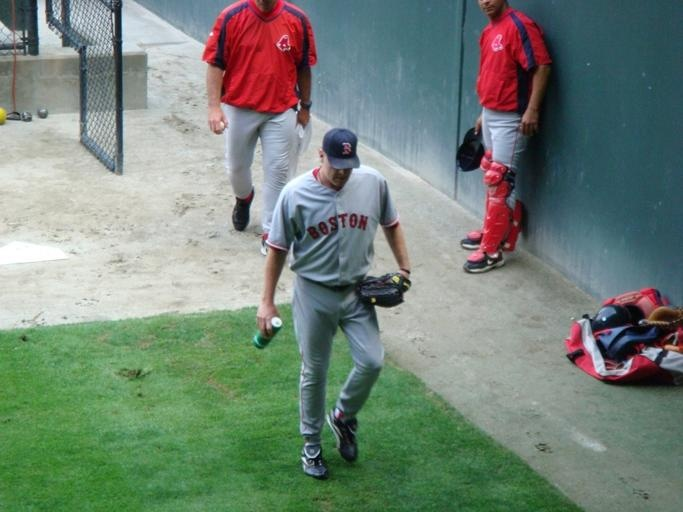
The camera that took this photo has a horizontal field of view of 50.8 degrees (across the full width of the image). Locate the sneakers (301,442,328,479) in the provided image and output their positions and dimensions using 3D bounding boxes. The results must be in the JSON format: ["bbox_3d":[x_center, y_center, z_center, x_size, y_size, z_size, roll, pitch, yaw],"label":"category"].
[{"bbox_3d":[-0.164,1.172,4.239,0.093,0.108,0.248,-6,28,-21],"label":"sneakers"}]

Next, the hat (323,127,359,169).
[{"bbox_3d":[-0.008,-0.591,4.051,0.152,0.138,0.254,-5,45,-19],"label":"hat"}]

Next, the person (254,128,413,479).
[{"bbox_3d":[-0.045,0.265,4.179,0.874,1.909,0.652,1,19,-8],"label":"person"}]

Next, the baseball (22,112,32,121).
[{"bbox_3d":[-4.414,-1.956,10.151,0.104,0.114,0.148,-1,12,-35],"label":"baseball"}]

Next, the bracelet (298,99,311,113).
[{"bbox_3d":[-0.353,-1.446,6.970,0.082,0.060,0.101,2,-14,-4],"label":"bracelet"}]

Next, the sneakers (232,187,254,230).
[{"bbox_3d":[-1.002,-0.447,7.312,0.147,0.491,0.198,3,6,-8],"label":"sneakers"}]

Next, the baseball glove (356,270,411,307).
[{"bbox_3d":[0.245,0.164,4.236,0.171,0.133,0.260,-3,20,10],"label":"baseball glove"}]

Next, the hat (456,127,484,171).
[{"bbox_3d":[1.324,-1.057,7.272,0.098,0.402,0.268,5,27,-43],"label":"hat"}]

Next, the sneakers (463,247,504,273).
[{"bbox_3d":[1.313,0.027,6.728,0.389,0.198,0.171,-7,22,-15],"label":"sneakers"}]
